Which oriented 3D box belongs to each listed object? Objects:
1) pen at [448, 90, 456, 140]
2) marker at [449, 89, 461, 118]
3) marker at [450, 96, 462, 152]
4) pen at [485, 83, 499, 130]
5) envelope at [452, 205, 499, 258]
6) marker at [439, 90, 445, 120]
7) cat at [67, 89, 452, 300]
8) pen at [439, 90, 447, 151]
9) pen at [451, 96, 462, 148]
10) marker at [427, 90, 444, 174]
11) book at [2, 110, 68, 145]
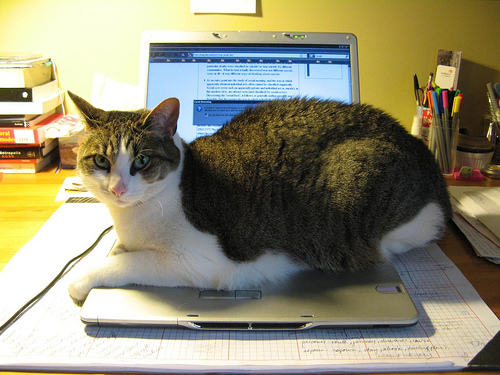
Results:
[{"bbox_3d":[0.666,-0.245,1.355,0.017,0.148,0.020,2,-2,28],"label":"pen"},{"bbox_3d":[0.692,-0.306,1.388,0.017,0.159,0.022,-2,-31,48],"label":"marker"},{"bbox_3d":[0.659,-0.225,1.340,0.024,0.141,0.016,-18,34,-24],"label":"marker"},{"bbox_3d":[0.805,-0.274,1.366,0.023,0.143,0.029,-17,-1,8],"label":"pen"},{"bbox_3d":[0.590,0.119,1.075,0.139,0.039,0.212,7,31,17],"label":"envelope"},{"bbox_3d":[0.631,-0.269,1.353,0.014,0.079,0.012,-9,0,-10],"label":"marker"},{"bbox_3d":[0.031,0.001,1.057,0.972,0.452,0.322,-6,10,-8],"label":"cat"},{"bbox_3d":[0.636,-0.244,1.357,0.017,0.150,0.012,-1,3,-20],"label":"pen"},{"bbox_3d":[0.664,-0.224,1.338,0.021,0.146,0.017,2,14,1],"label":"pen"},{"bbox_3d":[0.597,-0.181,1.318,0.041,0.303,0.043,-9,20,7],"label":"marker"},{"bbox_3d":[-0.757,-0.222,1.496,0.122,0.087,0.258,5,18,11],"label":"book"}]
